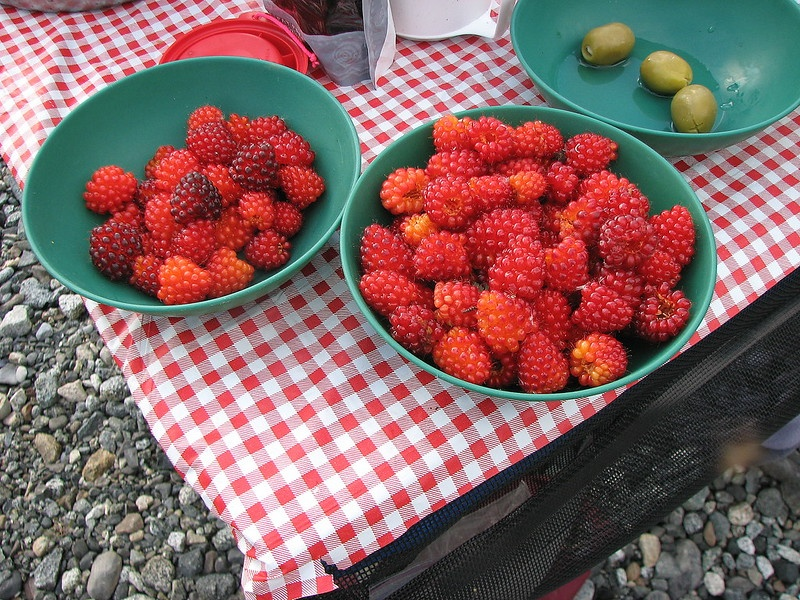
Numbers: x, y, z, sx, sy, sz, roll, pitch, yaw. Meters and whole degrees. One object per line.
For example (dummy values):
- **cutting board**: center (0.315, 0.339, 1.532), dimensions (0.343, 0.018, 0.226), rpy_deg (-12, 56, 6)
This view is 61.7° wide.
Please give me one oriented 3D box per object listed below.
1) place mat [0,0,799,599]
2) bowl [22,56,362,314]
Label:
- **place mat**: center (0.009, -0.039, 1.334), dimensions (1.153, 0.276, 1.084), rpy_deg (-40, 70, -23)
- **bowl**: center (-0.415, -0.216, 1.543), dimensions (0.516, 0.194, 0.571), rpy_deg (-13, 66, -4)
